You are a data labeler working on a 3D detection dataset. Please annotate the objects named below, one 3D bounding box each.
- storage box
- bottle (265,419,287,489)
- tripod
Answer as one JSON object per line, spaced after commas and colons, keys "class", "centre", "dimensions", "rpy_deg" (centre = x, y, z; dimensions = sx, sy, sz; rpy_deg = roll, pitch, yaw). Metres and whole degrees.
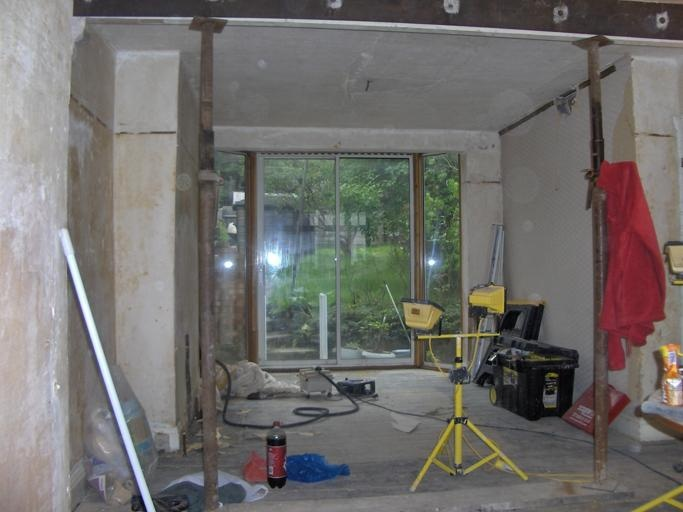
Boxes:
{"class": "storage box", "centre": [1.781, 1.136, 9.109], "dimensions": [0.616, 0.763, 0.795], "rpy_deg": [3, 2, -14]}
{"class": "bottle", "centre": [-0.506, 1.526, 7.395], "dimensions": [0.163, 0.469, 0.255], "rpy_deg": [-1, 9, -5]}
{"class": "tripod", "centre": [0.947, 1.196, 7.580], "dimensions": [0.824, 1.145, 0.755], "rpy_deg": [1, -7, -6]}
